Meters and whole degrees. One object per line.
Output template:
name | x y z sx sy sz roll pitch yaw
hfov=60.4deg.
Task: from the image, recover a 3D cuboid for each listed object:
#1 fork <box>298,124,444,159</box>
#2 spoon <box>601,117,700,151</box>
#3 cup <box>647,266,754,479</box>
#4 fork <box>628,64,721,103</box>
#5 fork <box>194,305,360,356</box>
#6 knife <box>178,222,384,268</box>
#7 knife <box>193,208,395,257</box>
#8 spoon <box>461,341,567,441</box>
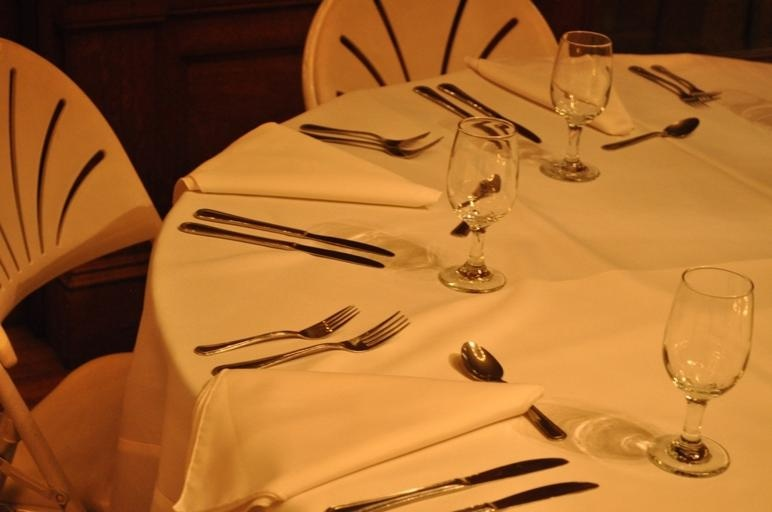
fork | -0.042 -0.255 1.478 0.275 0.052 0.073 6 33 8
spoon | 0.636 -0.295 1.604 0.174 0.028 0.039 -19 40 -11
cup | 0.438 0.154 0.916 0.127 0.276 0.152 -1 7 39
fork | 0.783 -0.475 1.832 0.253 0.022 0.094 33 52 30
fork | -0.179 0.120 1.045 0.196 0.031 0.035 -8 35 -13
knife | -0.202 -0.019 1.198 0.271 0.007 0.029 13 35 3
knife | -0.182 -0.042 1.230 0.268 0.007 0.032 14 32 2
spoon | 0.175 0.187 0.995 0.056 0.044 0.294 -6 33 -15
